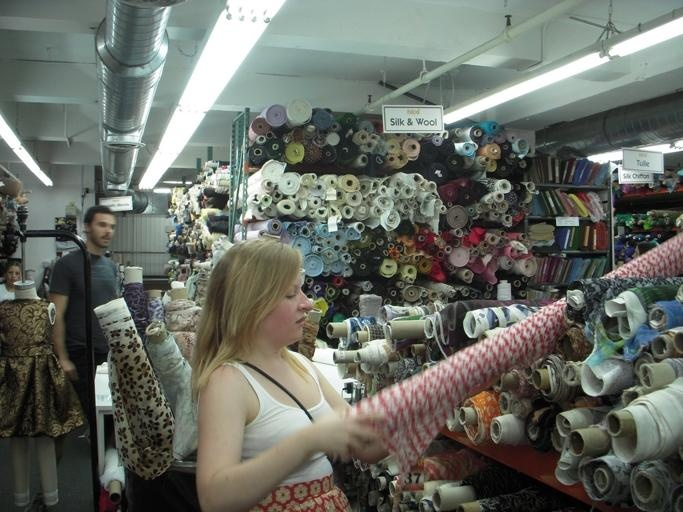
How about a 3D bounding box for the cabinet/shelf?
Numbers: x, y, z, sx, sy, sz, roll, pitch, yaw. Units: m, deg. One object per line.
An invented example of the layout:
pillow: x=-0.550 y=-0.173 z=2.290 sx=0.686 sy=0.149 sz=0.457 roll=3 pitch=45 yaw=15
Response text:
cabinet/shelf: x=0.599 y=-0.453 z=6.607 sx=3.371 sy=2.175 sz=0.731 roll=1 pitch=4 yaw=-20
